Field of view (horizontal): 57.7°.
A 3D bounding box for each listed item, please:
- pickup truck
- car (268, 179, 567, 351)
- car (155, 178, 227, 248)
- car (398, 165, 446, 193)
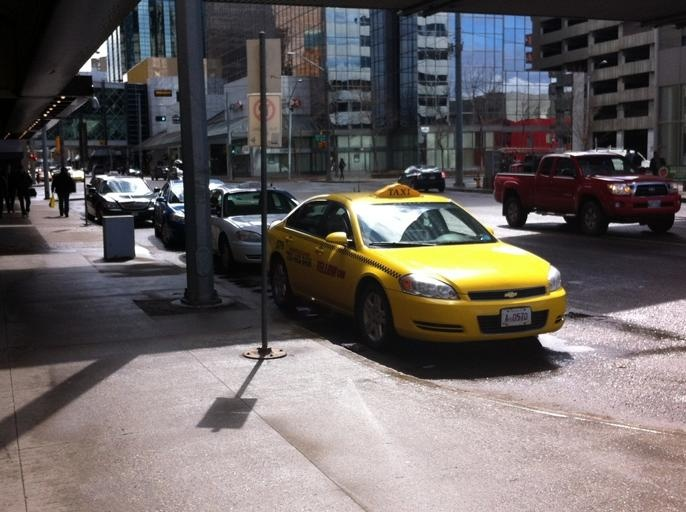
[{"bbox_3d":[7.432,-1.893,19.709,2.608,2.149,5.366,-2,4,-24],"label":"pickup truck"},{"bbox_3d":[0.545,-0.013,8.698,1.879,1.536,4.193,-2,5,-29],"label":"car"},{"bbox_3d":[-5.154,-1.321,20.179,2.029,1.588,4.507,-2,4,-23],"label":"car"},{"bbox_3d":[5.324,-5.226,44.067,2.170,1.689,4.893,-1,10,-11],"label":"car"}]
